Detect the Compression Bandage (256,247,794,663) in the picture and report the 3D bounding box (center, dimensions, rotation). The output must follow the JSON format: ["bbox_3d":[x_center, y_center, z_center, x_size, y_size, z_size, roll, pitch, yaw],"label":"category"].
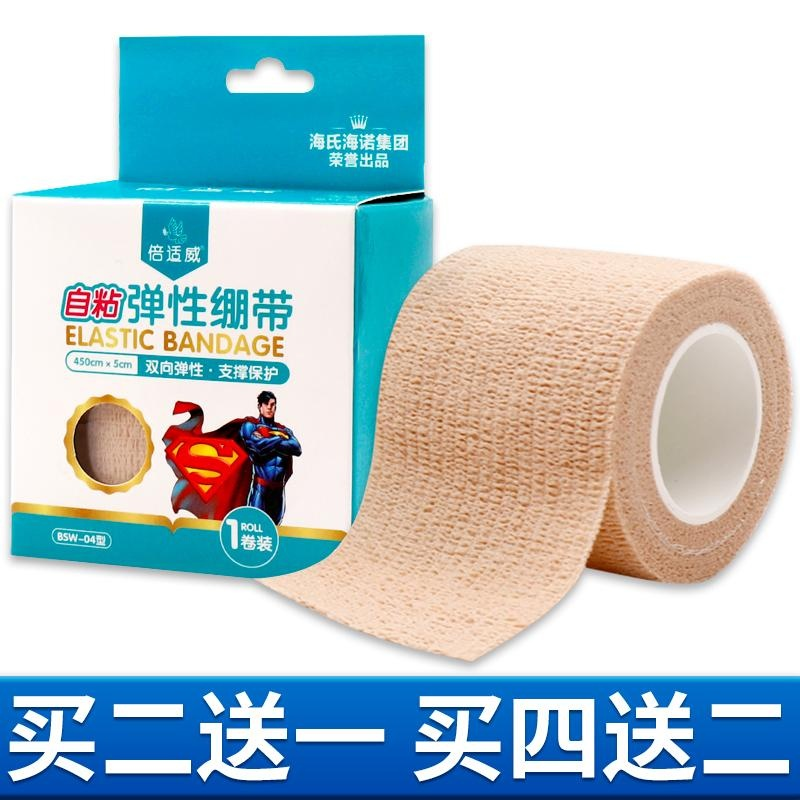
[{"bbox_3d":[0.301,0.179,1.491,0.530,0.913,0.622,17,-19,38],"label":"Compression Bandage"}]
